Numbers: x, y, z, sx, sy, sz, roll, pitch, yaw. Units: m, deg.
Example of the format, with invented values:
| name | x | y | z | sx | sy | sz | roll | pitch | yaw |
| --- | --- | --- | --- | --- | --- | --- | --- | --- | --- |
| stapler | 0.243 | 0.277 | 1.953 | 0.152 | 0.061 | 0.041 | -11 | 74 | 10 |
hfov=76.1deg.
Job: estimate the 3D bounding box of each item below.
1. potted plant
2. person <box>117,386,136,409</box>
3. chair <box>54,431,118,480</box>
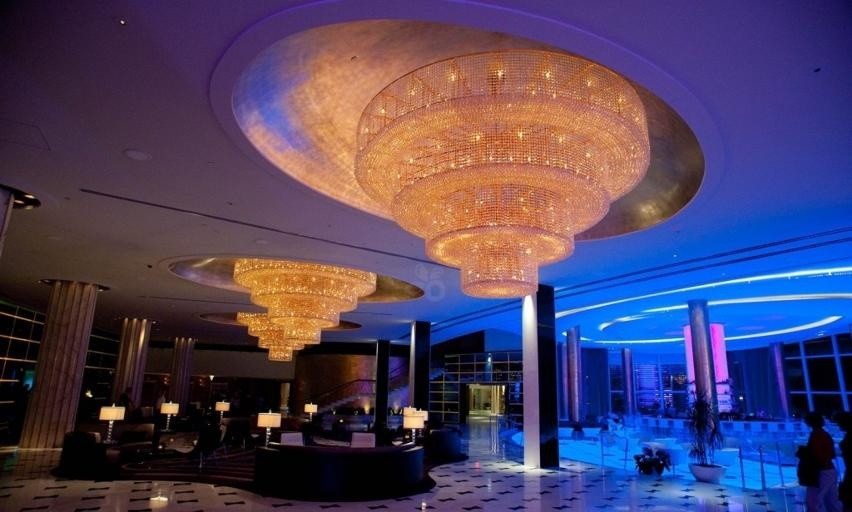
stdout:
| name | x | y | z | sx | sy | sz | roll | pitch | yaw |
| --- | --- | --- | --- | --- | --- | --- | --- | --- | --- |
| potted plant | 7.374 | 5.157 | 15.426 | 1.418 | 2.251 | 2.114 | 17 | -26 | -41 |
| person | -12.291 | 5.801 | 22.268 | 0.487 | 0.922 | 2.369 | 10 | -21 | -26 |
| chair | -8.914 | 5.266 | 14.443 | 1.594 | 1.231 | 1.307 | 3 | -6 | -14 |
